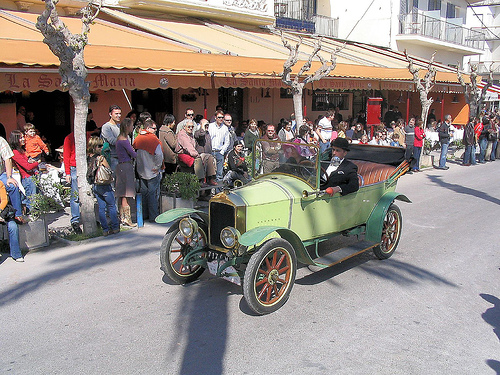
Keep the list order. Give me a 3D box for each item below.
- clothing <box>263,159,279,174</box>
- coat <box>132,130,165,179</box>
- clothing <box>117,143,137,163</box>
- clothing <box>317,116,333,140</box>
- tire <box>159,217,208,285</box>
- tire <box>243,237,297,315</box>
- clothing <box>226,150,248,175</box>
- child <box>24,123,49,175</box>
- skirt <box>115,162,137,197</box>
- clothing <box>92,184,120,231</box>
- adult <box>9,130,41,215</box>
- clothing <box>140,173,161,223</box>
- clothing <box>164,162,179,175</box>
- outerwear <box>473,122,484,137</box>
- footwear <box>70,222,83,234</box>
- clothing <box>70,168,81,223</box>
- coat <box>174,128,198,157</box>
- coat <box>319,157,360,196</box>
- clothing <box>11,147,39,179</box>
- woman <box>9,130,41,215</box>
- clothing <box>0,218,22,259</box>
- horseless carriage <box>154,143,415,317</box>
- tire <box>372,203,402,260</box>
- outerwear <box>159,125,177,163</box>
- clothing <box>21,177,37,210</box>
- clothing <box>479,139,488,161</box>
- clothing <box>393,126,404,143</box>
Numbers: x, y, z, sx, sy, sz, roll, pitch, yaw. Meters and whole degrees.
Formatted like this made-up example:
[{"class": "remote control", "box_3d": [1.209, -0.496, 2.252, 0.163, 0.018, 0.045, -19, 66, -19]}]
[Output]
[{"class": "clothing", "box_3d": [0.342, -0.365, 7.255, 0.238, 0.392, 0.217, -2, 2, -31]}, {"class": "coat", "box_3d": [-2.305, -0.729, 9.723, 0.833, 1.200, 0.423, 11, 25, 19]}, {"class": "clothing", "box_3d": [-2.699, -0.819, 9.313, 0.356, 0.543, 0.477, -11, 19, -36]}, {"class": "clothing", "box_3d": [2.428, -1.885, 13.902, 0.372, 0.767, 0.668, 4, 10, 35]}, {"class": "tire", "box_3d": [-1.018, 1.021, 7.048, 0.832, 1.198, 0.844, 7, 3, -19]}, {"class": "tire", "box_3d": [0.269, 1.259, 6.135, 0.182, 0.744, 0.791, 0, 51, 44]}, {"class": "clothing", "box_3d": [-0.343, -0.636, 10.823, 0.575, 0.746, 0.523, 2, 3, 38]}, {"class": "child", "box_3d": [-5.099, -0.827, 10.184, 0.584, 1.323, 0.352, -4, 25, -13]}, {"class": "skirt", "box_3d": [-2.735, -0.235, 9.519, 0.575, 0.918, 0.449, 5, -8, -41]}, {"class": "clothing", "box_3d": [-2.992, 0.347, 8.878, 0.392, 1.306, 0.288, -3, 30, -12]}, {"class": "adult", "box_3d": [-4.581, -0.267, 8.699, 0.449, 1.886, 0.505, -12, 52, -23]}, {"class": "clothing", "box_3d": [-2.343, 0.129, 9.904, 0.425, 1.208, 0.337, -2, 21, -5]}, {"class": "clothing", "box_3d": [-2.089, -0.509, 11.269, 0.337, 0.327, 0.262, 12, -9, -41]}, {"class": "outerwear", "box_3d": [10.237, -2.598, 19.254, 0.272, 0.663, 0.563, -3, 28, 0]}, {"class": "footwear", "box_3d": [-3.656, 0.847, 9.042, 0.346, 0.192, 0.130, 10, 12, 36]}, {"class": "clothing", "box_3d": [-3.725, 0.235, 9.214, 0.142, 1.010, 0.160, -1, -7, 13]}, {"class": "coat", "box_3d": [-1.576, -1.133, 10.737, 0.505, 0.753, 0.908, -2, 12, -11]}, {"class": "coat", "box_3d": [1.550, -0.192, 7.225, 0.465, 0.288, 0.641, 21, 19, 38]}, {"class": "clothing", "box_3d": [-4.668, -0.614, 8.890, 0.319, 0.658, 0.429, -8, 25, -14]}, {"class": "woman", "box_3d": [-4.581, -0.267, 8.699, 0.449, 1.886, 0.505, -12, 52, -23]}, {"class": "clothing", "box_3d": [-4.244, 0.886, 7.671, 0.242, 0.982, 0.265, 2, 8, 24]}, {"class": "horseless carriage", "box_3d": [1.018, 0.480, 7.834, 4.620, 2.438, 2.256, -7, 10, -42]}, {"class": "tire", "box_3d": [2.533, 0.822, 8.000, 0.206, 1.074, 0.844, 7, 0, 45]}, {"class": "outerwear", "box_3d": [-2.047, -1.048, 10.672, 0.426, 0.881, 0.657, -12, 25, -25]}, {"class": "clothing", "box_3d": [-4.715, 0.025, 9.176, 0.280, 0.935, 0.358, -6, 44, -29]}, {"class": "clothing", "box_3d": [10.722, -1.759, 19.817, 0.273, 1.117, 0.358, -1, 21, 27]}, {"class": "clothing", "box_3d": [5.650, -2.006, 16.338, 0.346, 0.743, 0.644, -5, 0, 37]}]
